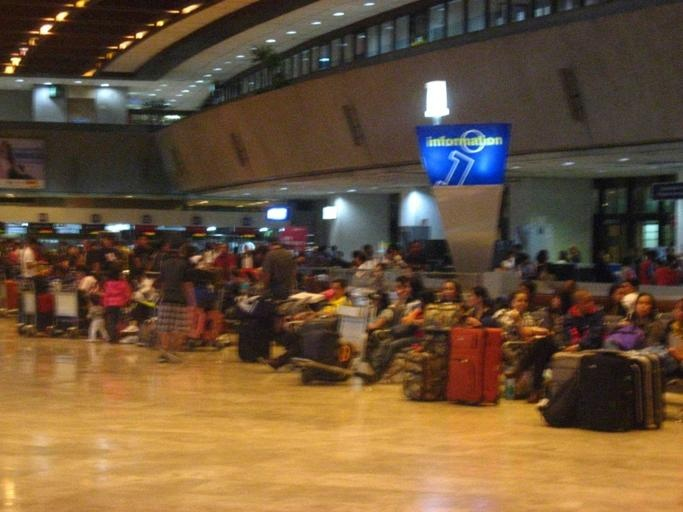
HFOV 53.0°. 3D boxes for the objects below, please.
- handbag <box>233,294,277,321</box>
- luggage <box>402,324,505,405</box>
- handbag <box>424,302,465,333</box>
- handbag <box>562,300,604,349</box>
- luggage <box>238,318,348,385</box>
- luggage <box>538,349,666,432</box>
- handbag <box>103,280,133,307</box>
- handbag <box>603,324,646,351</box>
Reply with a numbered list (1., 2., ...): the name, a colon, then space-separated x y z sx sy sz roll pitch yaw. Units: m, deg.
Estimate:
1. handbag: -1.216 0.750 9.794 0.568 0.196 0.689 2 -5 -8
2. luggage: 1.255 1.207 7.469 0.549 0.713 0.919 7 -8 -37
3. handbag: 1.193 0.693 7.892 0.388 0.207 0.358 -3 -6 24
4. handbag: 2.789 0.809 7.892 0.587 0.612 0.436 -5 -13 35
5. luggage: -0.587 1.218 8.789 1.180 0.331 1.021 -3 2 -2
6. luggage: 2.387 1.307 6.537 0.892 0.702 1.205 7 -9 -36
7. handbag: -3.862 0.650 11.877 0.610 0.538 0.330 1 -1 -9
8. handbag: 3.078 0.893 7.435 0.350 0.114 0.306 -8 23 28
